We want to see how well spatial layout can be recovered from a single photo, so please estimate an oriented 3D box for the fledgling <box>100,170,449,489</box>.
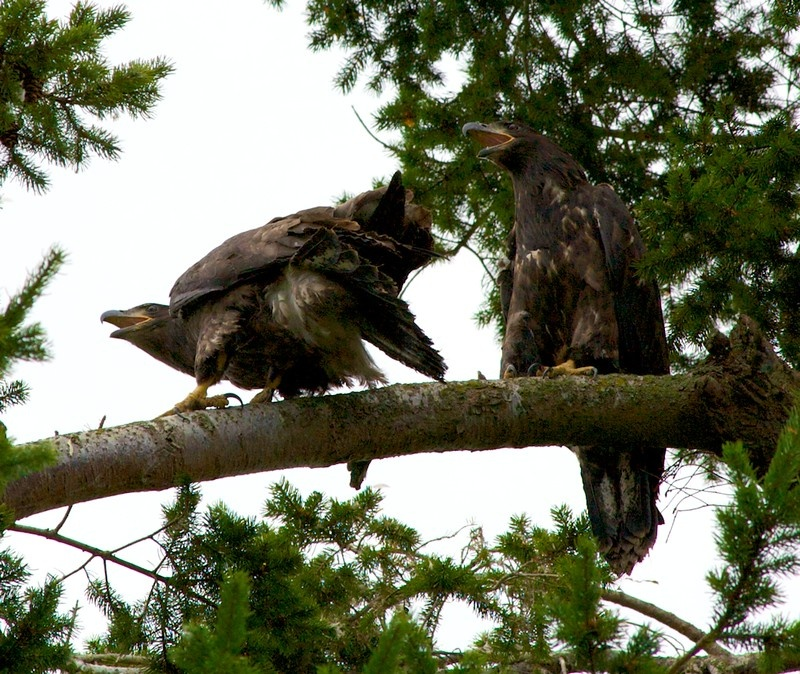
[{"bbox_3d":[-0.729,-0.115,11.498,1.924,1.220,0.800,-10,-27,19],"label":"fledgling"}]
